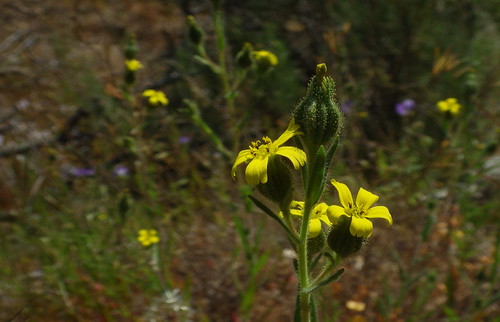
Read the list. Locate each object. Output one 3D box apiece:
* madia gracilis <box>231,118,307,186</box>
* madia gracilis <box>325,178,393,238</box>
[{"bbox_3d":[0.108,-0.019,3.832,0.452,0.390,0.375,-6,67,-3],"label":"madia gracilis"},{"bbox_3d":[0.674,0.315,3.844,0.403,0.165,0.320,8,68,2],"label":"madia gracilis"}]
